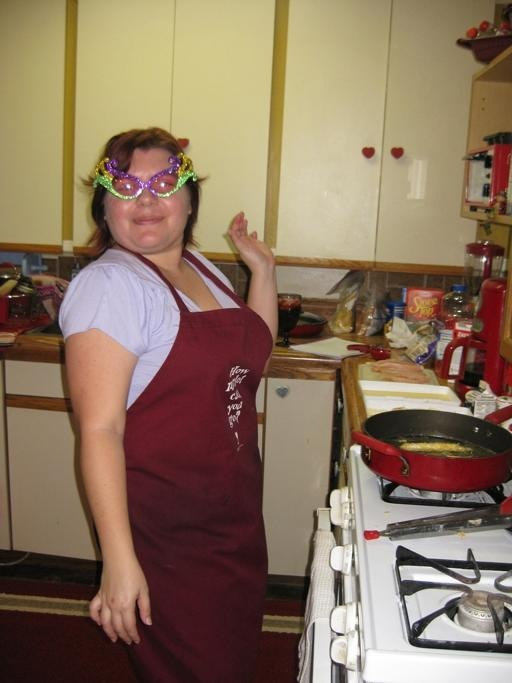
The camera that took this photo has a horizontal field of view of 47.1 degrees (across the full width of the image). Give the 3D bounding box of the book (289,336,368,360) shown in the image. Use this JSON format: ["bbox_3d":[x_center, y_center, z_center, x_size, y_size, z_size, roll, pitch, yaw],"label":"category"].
[{"bbox_3d":[0.290,0.013,2.188,0.242,0.053,0.337,-3,11,34],"label":"book"}]

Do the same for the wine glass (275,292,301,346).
[{"bbox_3d":[0.123,-0.082,2.189,0.107,0.191,0.314,-10,9,3],"label":"wine glass"}]
